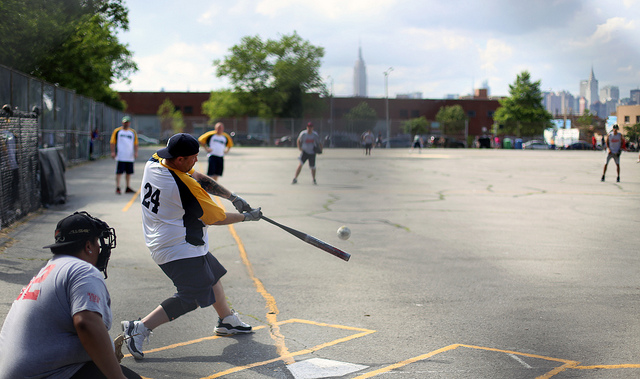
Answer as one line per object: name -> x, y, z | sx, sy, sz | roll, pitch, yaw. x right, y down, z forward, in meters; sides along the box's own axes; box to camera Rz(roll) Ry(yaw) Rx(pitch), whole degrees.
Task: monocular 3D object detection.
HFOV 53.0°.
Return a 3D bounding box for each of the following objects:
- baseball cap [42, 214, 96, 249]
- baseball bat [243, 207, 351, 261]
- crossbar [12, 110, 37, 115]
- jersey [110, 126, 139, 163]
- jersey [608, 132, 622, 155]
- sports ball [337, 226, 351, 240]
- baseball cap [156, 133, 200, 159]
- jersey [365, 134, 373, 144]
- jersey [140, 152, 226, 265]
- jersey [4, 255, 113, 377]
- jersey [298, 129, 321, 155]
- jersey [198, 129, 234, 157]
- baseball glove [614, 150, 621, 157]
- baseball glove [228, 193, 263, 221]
baseball cap -> -3.155, 0.525, 8.069 | 0.530, 0.279, 0.362 | -2, 1, -36
baseball bat -> -0.531, 1.018, 13.932 | 2.097, 0.141, 0.144 | 29, -21, -6
crossbar -> -7.716, -2.009, 16.706 | 0.525, 0.094, 2.490 | -1, 6, -23
jersey -> -6.329, -1.442, 20.535 | 0.693, 1.111, 0.645 | 0, 5, -16
jersey -> 11.303, -1.745, 24.510 | 0.460, 0.813, 0.434 | 4, 6, 23
sports ball -> 0.452, 0.827, 12.051 | 0.214, 0.217, 0.218 | -3, -8, 0
baseball cap -> -2.138, -0.647, 9.582 | 0.547, 0.278, 0.347 | 0, 12, -6
jersey -> 3.585, -3.658, 47.054 | 0.769, 0.790, 0.480 | 0, 2, 4
jersey -> -2.226, 0.251, 9.975 | 0.977, 1.571, 1.836 | -13, 24, -41
jersey -> -3.320, 1.596, 7.953 | 1.212, 1.484, 0.269 | 2, 5, 0
jersey -> -0.419, -1.765, 24.326 | 0.716, 0.870, 0.538 | 0, 5, -16
jersey -> -3.580, -1.548, 21.970 | 1.246, 0.985, 0.436 | 5, 1, -18
baseball glove -> 11.349, -1.367, 24.416 | 0.215, 0.075, 0.208 | -22, -6, -39
baseball glove -> -1.215, 0.326, 10.291 | 0.406, 0.506, 0.266 | -44, -8, -23
